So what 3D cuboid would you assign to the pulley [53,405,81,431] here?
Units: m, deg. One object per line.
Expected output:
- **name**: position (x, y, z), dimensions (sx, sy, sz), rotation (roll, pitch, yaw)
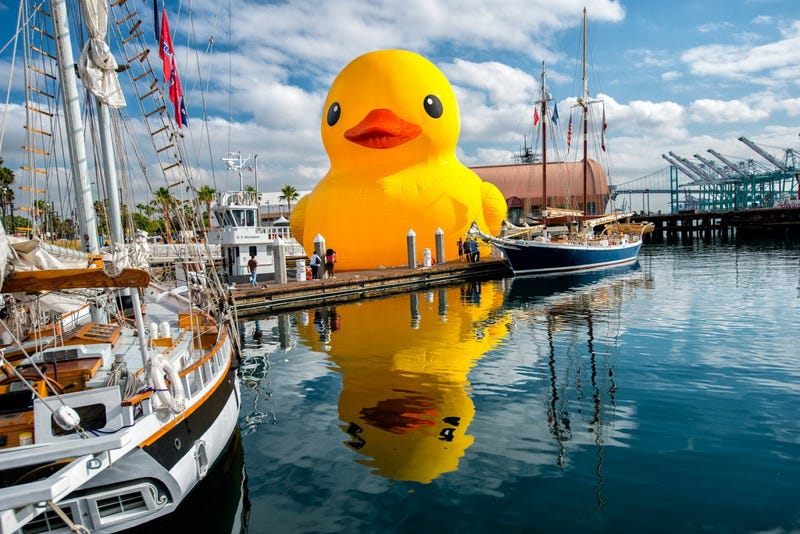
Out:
- **pulley**: position (-5.021, 2.279, 8.342), dimensions (0.339, 0.144, 0.443), rotation (32, 5, -32)
